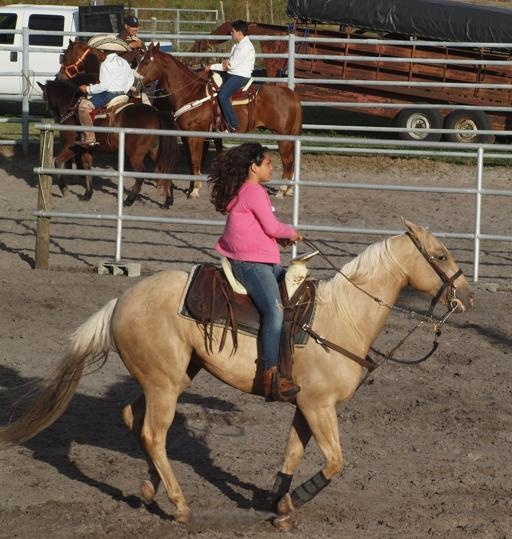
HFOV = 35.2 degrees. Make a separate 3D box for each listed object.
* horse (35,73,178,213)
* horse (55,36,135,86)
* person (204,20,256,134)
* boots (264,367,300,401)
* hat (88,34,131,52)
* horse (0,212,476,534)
[{"bbox_3d":[-2.045,-1.713,11.006,2.699,1.550,0.652,13,17,33],"label":"horse"},{"bbox_3d":[-2.278,-3.016,11.728,1.334,0.603,0.387,1,5,37],"label":"horse"},{"bbox_3d":[-0.265,-2.554,10.768,0.441,1.404,0.653,3,11,-8],"label":"person"},{"bbox_3d":[0.133,0.570,4.122,0.084,0.142,0.240,-2,-5,-37],"label":"boots"},{"bbox_3d":[-2.070,-3.149,11.269,0.570,0.185,0.374,4,7,24],"label":"hat"},{"bbox_3d":[-0.119,0.514,4.306,2.263,1.651,0.670,7,11,15],"label":"horse"}]
